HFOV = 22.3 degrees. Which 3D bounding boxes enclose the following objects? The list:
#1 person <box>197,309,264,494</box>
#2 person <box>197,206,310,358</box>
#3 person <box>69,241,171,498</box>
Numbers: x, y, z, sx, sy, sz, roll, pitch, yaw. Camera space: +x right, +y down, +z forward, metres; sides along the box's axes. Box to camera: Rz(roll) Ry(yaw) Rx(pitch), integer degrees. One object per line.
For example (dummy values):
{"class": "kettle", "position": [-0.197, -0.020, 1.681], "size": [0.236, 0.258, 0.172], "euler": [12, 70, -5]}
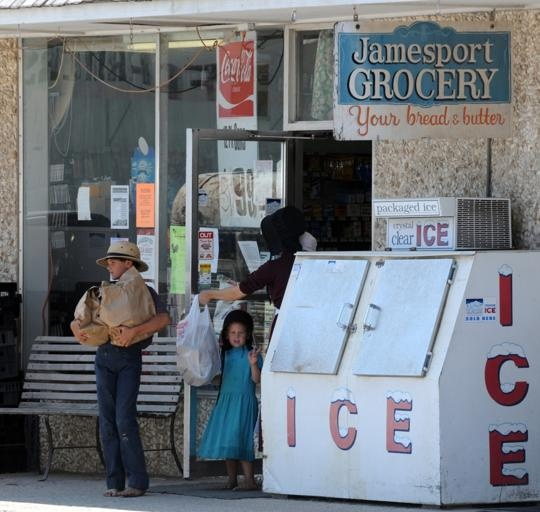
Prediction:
{"class": "person", "position": [-0.279, 1.000, 9.618], "size": [0.452, 1.230, 0.457], "euler": [-1, 4, -4]}
{"class": "person", "position": [-0.135, 0.209, 9.750], "size": [0.473, 0.908, 0.706], "euler": [18, 26, 24]}
{"class": "person", "position": [-1.004, 0.759, 9.309], "size": [0.491, 1.680, 0.546], "euler": [2, 5, 30]}
